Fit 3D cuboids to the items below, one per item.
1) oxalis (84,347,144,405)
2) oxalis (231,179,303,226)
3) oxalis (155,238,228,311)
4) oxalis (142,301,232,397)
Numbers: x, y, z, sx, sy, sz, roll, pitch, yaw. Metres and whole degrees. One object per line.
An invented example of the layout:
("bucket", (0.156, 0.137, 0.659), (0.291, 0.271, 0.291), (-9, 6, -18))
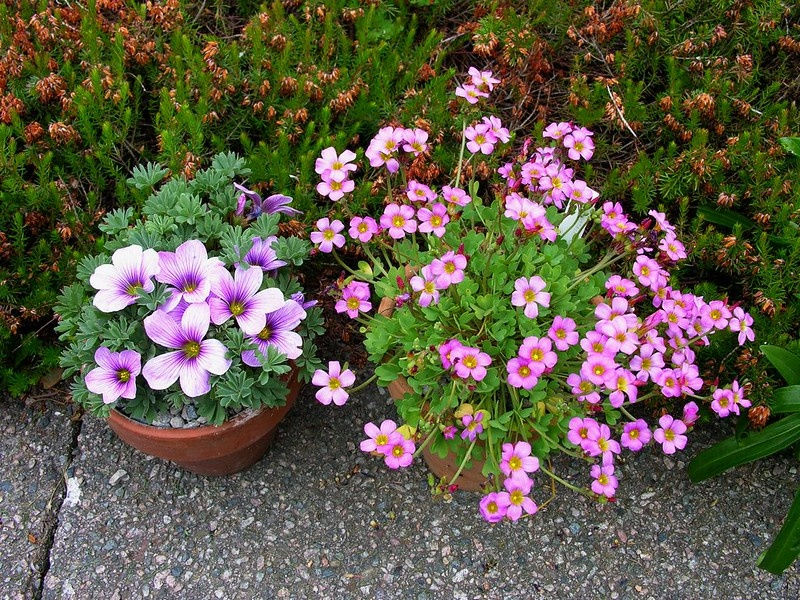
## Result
("oxalis", (-1.037, 0.290, 2.291), (0.194, 0.228, 0.163), (1, 54, -7))
("oxalis", (-0.512, -0.422, 2.615), (0.321, 0.186, 0.189), (16, 27, 26))
("oxalis", (-0.734, -0.091, 2.335), (0.234, 0.147, 0.254), (18, 72, 15))
("oxalis", (-0.749, 0.221, 2.258), (0.281, 0.366, 0.250), (0, 54, -7))
